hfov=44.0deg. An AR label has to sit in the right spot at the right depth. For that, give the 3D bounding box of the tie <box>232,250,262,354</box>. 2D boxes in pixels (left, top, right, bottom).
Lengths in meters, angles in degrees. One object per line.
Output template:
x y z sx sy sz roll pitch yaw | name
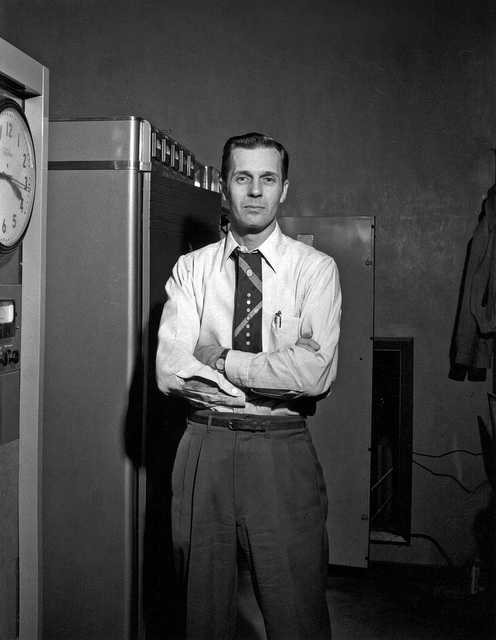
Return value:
-0.004 -0.036 1.445 0.084 0.315 0.019 5 41 5 | tie

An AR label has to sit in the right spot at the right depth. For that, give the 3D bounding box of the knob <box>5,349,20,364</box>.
-0.514 0.079 1.337 0.018 0.033 0.008 -1 8 -42 | knob

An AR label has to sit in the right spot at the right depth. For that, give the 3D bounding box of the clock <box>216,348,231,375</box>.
-0.053 0.091 1.363 0.021 0.046 0.050 3 49 -4 | clock
